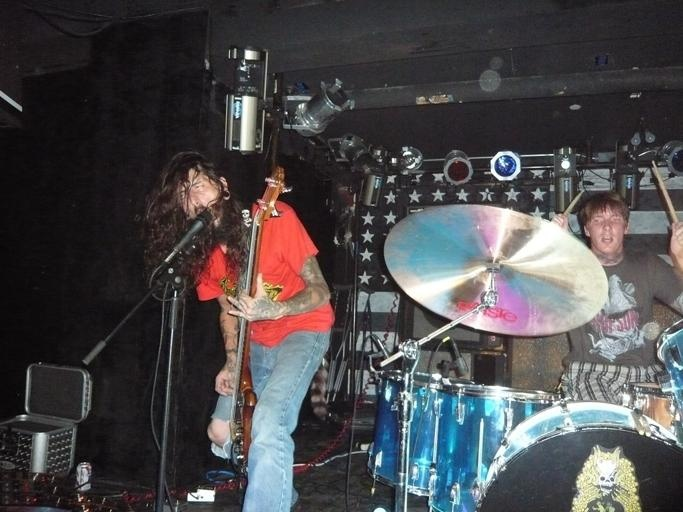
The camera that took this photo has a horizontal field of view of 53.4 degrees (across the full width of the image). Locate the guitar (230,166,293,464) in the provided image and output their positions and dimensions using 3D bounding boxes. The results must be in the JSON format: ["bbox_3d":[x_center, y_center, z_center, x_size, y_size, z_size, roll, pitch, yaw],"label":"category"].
[{"bbox_3d":[-0.597,0.408,4.659,0.236,2.093,0.434,7,-10,-25],"label":"guitar"}]

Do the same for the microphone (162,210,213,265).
[{"bbox_3d":[-1.052,-0.131,4.703,0.096,0.405,0.140,34,-12,34],"label":"microphone"}]

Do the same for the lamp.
[{"bbox_3d":[1.171,-1.316,6.862,5.069,1.757,0.955,3,22,18],"label":"lamp"}]
